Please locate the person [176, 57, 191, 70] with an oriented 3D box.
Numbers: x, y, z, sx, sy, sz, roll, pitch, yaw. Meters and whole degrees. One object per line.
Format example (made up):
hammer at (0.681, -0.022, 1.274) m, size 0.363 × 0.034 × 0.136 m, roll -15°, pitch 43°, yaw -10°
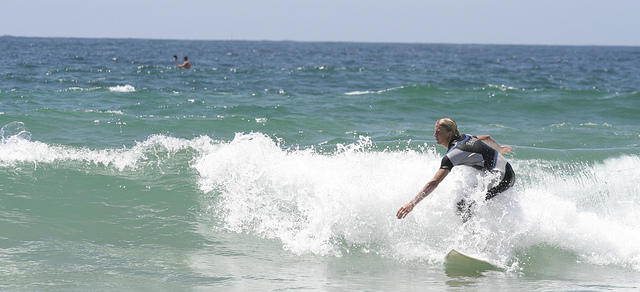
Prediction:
person at (-11.067, -6.772, 64.438) m, size 1.072 × 1.054 × 2.680 m, roll 1°, pitch 2°, yaw -9°
